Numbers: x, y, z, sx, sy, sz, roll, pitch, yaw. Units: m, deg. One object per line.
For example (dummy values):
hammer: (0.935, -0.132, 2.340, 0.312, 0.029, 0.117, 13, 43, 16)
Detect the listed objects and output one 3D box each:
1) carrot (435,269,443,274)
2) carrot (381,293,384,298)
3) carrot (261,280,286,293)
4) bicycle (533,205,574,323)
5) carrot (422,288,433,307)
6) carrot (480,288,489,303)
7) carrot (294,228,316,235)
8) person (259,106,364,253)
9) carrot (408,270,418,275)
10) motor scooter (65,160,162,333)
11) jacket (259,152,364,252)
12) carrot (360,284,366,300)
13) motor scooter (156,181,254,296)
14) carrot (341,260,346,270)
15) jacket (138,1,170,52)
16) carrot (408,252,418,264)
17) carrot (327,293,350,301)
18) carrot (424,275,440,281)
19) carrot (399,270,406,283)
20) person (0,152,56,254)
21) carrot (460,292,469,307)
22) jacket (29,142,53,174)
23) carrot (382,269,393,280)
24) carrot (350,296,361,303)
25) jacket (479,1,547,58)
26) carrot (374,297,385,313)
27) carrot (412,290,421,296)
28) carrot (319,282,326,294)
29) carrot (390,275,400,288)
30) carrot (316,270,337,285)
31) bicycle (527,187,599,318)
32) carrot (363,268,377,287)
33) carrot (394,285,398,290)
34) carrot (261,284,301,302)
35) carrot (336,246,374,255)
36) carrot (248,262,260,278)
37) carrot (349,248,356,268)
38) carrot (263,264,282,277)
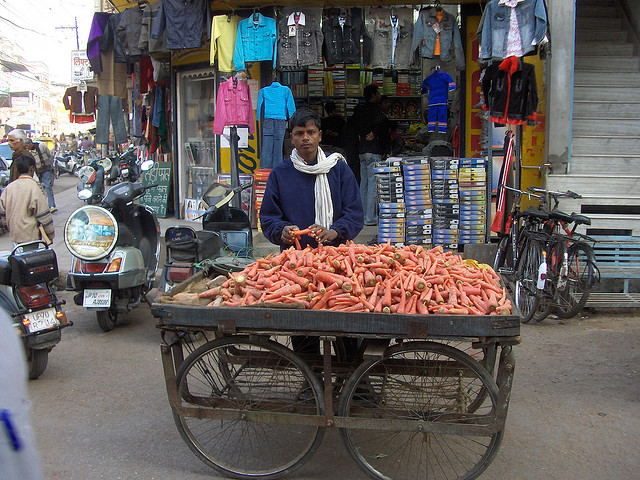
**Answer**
carrot: (0.832, 0.218, 3.855, 0.047, 0.030, 0.021, 2, 10, 14)
carrot: (0.418, 0.371, 3.683, 0.020, 0.006, 0.021, -19, 15, -2)
carrot: (-0.322, 0.321, 3.788, 0.122, 0.035, 0.030, -23, -18, -23)
bicycle: (2.907, 0.354, 6.865, 0.393, 1.416, 0.818, 3, 11, 22)
carrot: (0.713, 0.376, 3.626, 0.032, 0.036, 0.143, 0, 34, 36)
carrot: (1.102, 0.373, 3.684, 0.022, 0.020, 0.086, -5, 39, -8)
carrot: (-0.111, -0.069, 4.208, 0.147, 0.035, 0.027, -11, -19, 6)
person: (-0.064, -0.306, 4.448, 0.753, 1.455, 0.686, -2, 7, -2)
carrot: (0.642, 0.224, 3.804, 0.058, 0.027, 0.057, 7, 13, 37)
motor scooter: (-2.488, 0.076, 6.734, 0.820, 2.054, 1.087, 0, 10, 6)
jacket: (-0.059, -0.242, 4.425, 0.823, 0.988, 0.490, -2, -2, -11)
carrot: (0.281, 0.345, 3.672, 0.053, 0.074, 0.027, 16, -40, -37)
motor scooter: (-1.254, -0.026, 6.682, 0.643, 1.324, 1.803, 2, 16, 22)
carrot: (0.164, 0.173, 3.826, 0.028, 0.020, 0.060, 6, 36, -5)
jacket: (-3.174, -3.982, 10.700, 0.526, 1.174, 0.466, 4, 12, 21)
carrot: (0.670, 0.124, 3.945, 0.044, 0.066, 0.019, -7, -16, -27)
carrot: (0.126, 0.379, 3.650, 0.146, 0.049, 0.029, -2, 10, -4)
carrot: (0.774, 0.255, 3.776, 0.116, 0.020, 0.068, -5, 11, -22)
carrot: (0.566, 0.248, 3.763, 0.042, 0.053, 0.092, 0, 10, 4)
person: (-3.818, -0.542, 7.127, 0.578, 1.122, 0.383, -6, 11, -29)
carrot: (0.950, 0.384, 3.612, 0.038, 0.028, 0.079, 2, 51, -5)
jacket: (-6.291, -1.854, 12.398, 0.465, 0.716, 0.383, -10, 14, 1)
carrot: (0.467, 0.236, 3.786, 0.031, 0.028, 0.124, -22, 56, -21)
carrot: (0.236, 0.392, 3.629, 0.072, 0.040, 0.011, 2, 10, 14)
jacket: (2.681, -2.962, 7.615, 0.867, 0.783, 0.111, 5, 11, 28)
carrot: (0.396, 0.418, 3.620, 0.031, 0.039, 0.124, 11, 46, 27)
carrot: (0.644, 0.352, 3.659, 0.054, 0.031, 0.032, 4, 11, 26)
carrot: (0.020, 0.319, 3.707, 0.042, 0.055, 0.067, -1, 10, 0)
carrot: (0.505, 0.280, 3.718, 0.115, 0.029, 0.028, -49, 24, -7)
carrot: (0.039, 0.255, 3.729, 0.147, 0.075, 0.064, 27, 24, 36)
bicycle: (3.195, 0.156, 7.276, 0.764, 1.198, 1.826, 7, 14, 1)
carrot: (0.341, 0.260, 3.749, 0.048, 0.052, 0.120, -6, 23, -8)
carrot: (0.511, 0.319, 3.699, 0.023, 0.026, 0.009, -9, -16, 28)
carrot: (-0.254, 0.361, 3.734, 0.161, 0.042, 0.040, -23, 23, -10)
carrot: (0.255, 0.073, 3.982, 0.274, 0.048, 0.124, 0, 10, 4)
carrot: (-0.472, 0.215, 3.968, 0.028, 0.037, 0.133, 10, 40, 17)
carrot: (0.226, 0.123, 3.897, 0.033, 0.030, 0.130, 23, 41, -32)
carrot: (-0.331, 0.218, 3.917, 0.042, 0.045, 0.156, 33, 46, 30)
